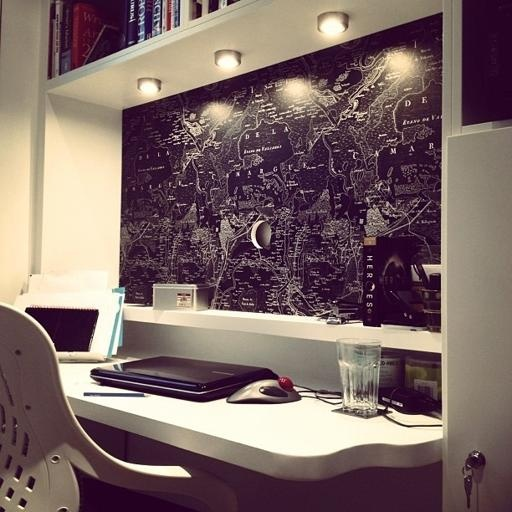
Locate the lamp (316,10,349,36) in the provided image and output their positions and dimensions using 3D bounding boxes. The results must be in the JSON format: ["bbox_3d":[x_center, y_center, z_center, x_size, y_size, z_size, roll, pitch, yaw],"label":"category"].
[{"bbox_3d":[0.222,-0.663,1.373,0.091,0.031,0.097,-2,4,10],"label":"lamp"}]

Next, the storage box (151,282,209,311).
[{"bbox_3d":[-0.275,0.138,1.715,0.179,0.098,0.167,-1,-4,32],"label":"storage box"}]

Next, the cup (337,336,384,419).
[{"bbox_3d":[0.240,0.273,1.142,0.082,0.178,0.091,9,0,30],"label":"cup"}]

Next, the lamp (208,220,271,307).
[{"bbox_3d":[-0.065,0.036,1.692,0.184,0.311,0.042,8,0,41],"label":"lamp"}]
